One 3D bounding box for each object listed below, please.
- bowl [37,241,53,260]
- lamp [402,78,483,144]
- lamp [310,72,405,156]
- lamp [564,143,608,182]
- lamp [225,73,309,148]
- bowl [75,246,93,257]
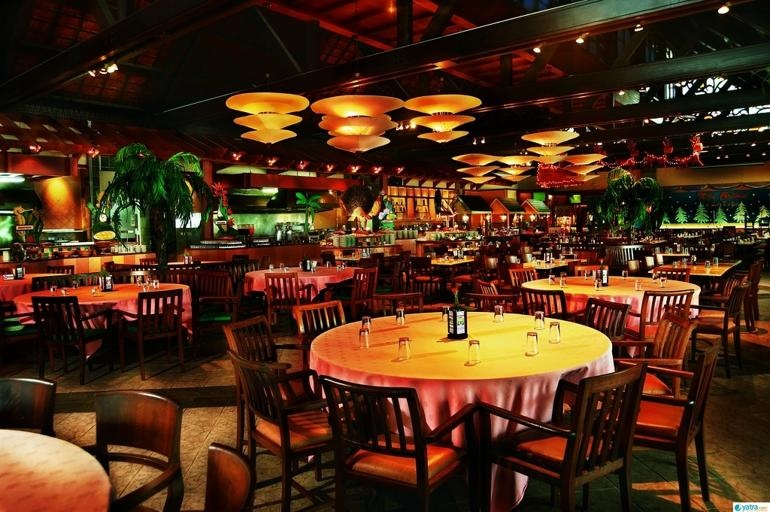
[{"bbox_3d":[-6.592,-0.107,10.304,0.442,0.340,0.383,-1,6,-23],"label":"bowl"},{"bbox_3d":[0.900,-2.116,8.505,1.312,0.505,1.215,0,1,8],"label":"lamp"},{"bbox_3d":[-0.353,-1.952,7.345,1.148,0.418,1.037,-2,-3,9],"label":"lamp"},{"bbox_3d":[4.796,-2.480,13.536,1.261,0.407,1.147,-16,16,21],"label":"lamp"},{"bbox_3d":[-1.593,-1.945,7.254,1.162,0.458,1.052,2,-4,-18],"label":"lamp"},{"bbox_3d":[-6.294,-0.105,11.111,0.363,0.126,0.368,1,-5,0],"label":"bowl"}]
